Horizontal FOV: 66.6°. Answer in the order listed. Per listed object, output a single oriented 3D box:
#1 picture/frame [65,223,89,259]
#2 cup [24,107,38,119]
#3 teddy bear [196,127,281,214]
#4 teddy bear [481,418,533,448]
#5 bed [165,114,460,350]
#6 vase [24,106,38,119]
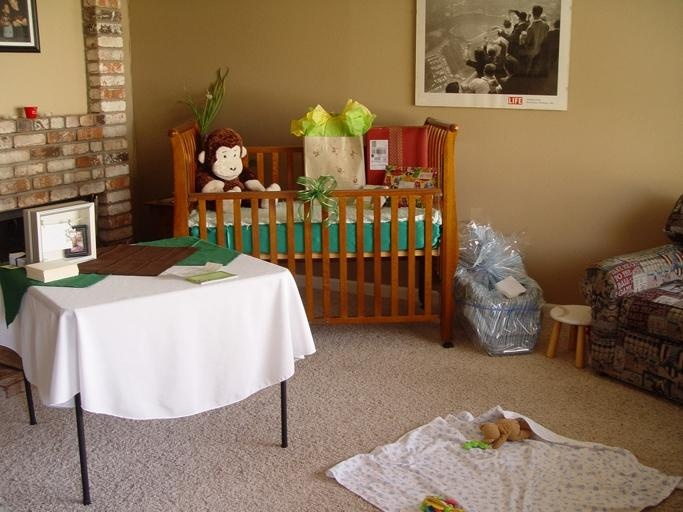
[{"bbox_3d":[-1.079,-0.068,2.113,0.015,0.139,0.119,13,17,32],"label":"picture/frame"},{"bbox_3d":[-1.998,-0.919,3.364,0.082,0.066,0.085,1,3,0],"label":"cup"},{"bbox_3d":[-0.662,-0.537,3.352,0.490,0.491,0.399,0,20,0],"label":"teddy bear"},{"bbox_3d":[0.713,0.730,2.247,0.194,0.091,0.109,-8,14,-18],"label":"teddy bear"},{"bbox_3d":[-0.155,-0.079,3.667,2.171,1.833,1.415,0,9,-1],"label":"bed"},{"bbox_3d":[-2.000,-0.925,3.346,0.084,0.068,0.087,1,3,-2],"label":"vase"}]
